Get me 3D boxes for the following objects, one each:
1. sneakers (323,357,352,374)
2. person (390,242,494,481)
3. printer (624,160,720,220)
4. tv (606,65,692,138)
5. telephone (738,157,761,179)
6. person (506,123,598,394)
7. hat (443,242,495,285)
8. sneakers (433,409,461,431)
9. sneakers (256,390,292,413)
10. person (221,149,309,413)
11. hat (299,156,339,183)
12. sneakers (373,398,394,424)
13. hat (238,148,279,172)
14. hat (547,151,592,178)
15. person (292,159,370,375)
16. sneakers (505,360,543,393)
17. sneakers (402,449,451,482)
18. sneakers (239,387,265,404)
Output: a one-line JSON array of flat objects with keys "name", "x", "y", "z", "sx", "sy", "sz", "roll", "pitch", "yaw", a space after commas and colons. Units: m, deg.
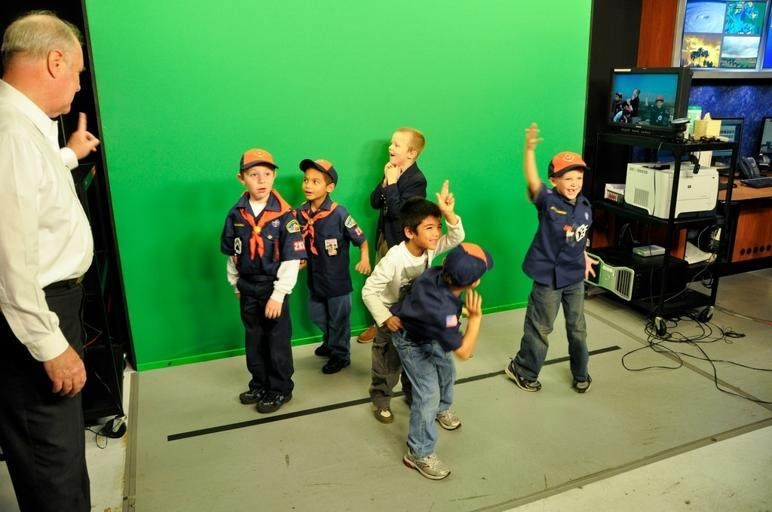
[{"name": "sneakers", "x": -0.352, "y": 0.769, "z": 3.889, "sx": 0.213, "sy": 0.089, "sz": 0.082, "roll": -1, "pitch": 5, "yaw": -37}, {"name": "person", "x": 0.311, "y": 0.553, "z": 3.024, "sx": 0.538, "sy": 1.286, "sz": 0.409, "roll": -1, "pitch": 15, "yaw": 5}, {"name": "printer", "x": 2.281, "y": -0.546, "z": 4.381, "sx": 0.639, "sy": 0.353, "sz": 0.638, "roll": -14, "pitch": 23, "yaw": -35}, {"name": "tv", "x": 2.113, "y": -1.242, "z": 4.377, "sx": 0.234, "sy": 0.516, "sz": 0.647, "roll": -14, "pitch": 22, "yaw": -30}, {"name": "telephone", "x": 3.451, "y": -0.859, "z": 5.190, "sx": 0.164, "sy": 0.228, "sz": 0.084, "roll": 5, "pitch": -21, "yaw": -4}, {"name": "person", "x": 1.086, "y": 0.025, "z": 3.560, "sx": 0.568, "sy": 1.732, "sz": 0.382, "roll": 1, "pitch": 16, "yaw": 13}, {"name": "hat", "x": 0.434, "y": 0.016, "z": 2.812, "sx": 0.256, "sy": 0.137, "sz": 0.173, "roll": -40, "pitch": 57, "yaw": -22}, {"name": "sneakers", "x": 0.380, "y": 0.995, "z": 3.359, "sx": 0.185, "sy": 0.078, "sz": 0.086, "roll": 6, "pitch": 18, "yaw": 28}, {"name": "sneakers", "x": -0.729, "y": 0.931, "z": 3.530, "sx": 0.096, "sy": 0.106, "sz": 0.246, "roll": 8, "pitch": 8, "yaw": 42}, {"name": "person", "x": -0.764, "y": 0.161, "z": 3.434, "sx": 0.532, "sy": 1.614, "sz": 0.389, "roll": -3, "pitch": 15, "yaw": -2}, {"name": "hat", "x": -0.438, "y": -0.583, "z": 3.640, "sx": 0.223, "sy": 0.116, "sz": 0.156, "roll": 35, "pitch": -4, "yaw": -30}, {"name": "sneakers", "x": -0.029, "y": 0.950, "z": 3.398, "sx": 0.100, "sy": 0.106, "sz": 0.172, "roll": -4, "pitch": 13, "yaw": -21}, {"name": "hat", "x": -0.820, "y": -0.613, "z": 3.378, "sx": 0.162, "sy": 0.115, "sz": 0.207, "roll": -5, "pitch": 0, "yaw": -27}, {"name": "hat", "x": 1.119, "y": -0.550, "z": 3.461, "sx": 0.157, "sy": 0.114, "sz": 0.210, "roll": -17, "pitch": -3, "yaw": -14}, {"name": "person", "x": -0.423, "y": 0.084, "z": 3.848, "sx": 0.700, "sy": 1.511, "sz": 0.521, "roll": 7, "pitch": 18, "yaw": 23}, {"name": "sneakers", "x": 0.918, "y": 0.834, "z": 3.729, "sx": 0.272, "sy": 0.125, "sz": 0.120, "roll": 36, "pitch": 33, "yaw": 24}, {"name": "sneakers", "x": 0.241, "y": 1.157, "z": 3.087, "sx": 0.268, "sy": 0.126, "sz": 0.111, "roll": 11, "pitch": 19, "yaw": 24}, {"name": "sneakers", "x": -0.872, "y": 0.904, "z": 3.569, "sx": 0.165, "sy": 0.065, "sz": 0.084, "roll": 3, "pitch": 15, "yaw": 1}]
